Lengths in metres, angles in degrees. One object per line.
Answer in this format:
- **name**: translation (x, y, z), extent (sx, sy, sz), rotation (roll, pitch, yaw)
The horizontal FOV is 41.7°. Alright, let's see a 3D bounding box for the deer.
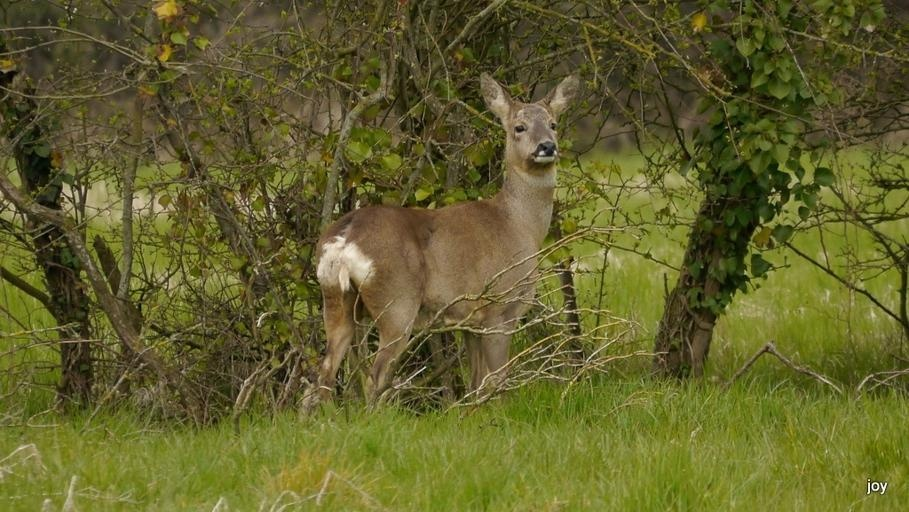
- **deer**: translation (-0.001, -0.052, 11.055), extent (2.963, 3.209, 1.049), rotation (-4, 10, -43)
